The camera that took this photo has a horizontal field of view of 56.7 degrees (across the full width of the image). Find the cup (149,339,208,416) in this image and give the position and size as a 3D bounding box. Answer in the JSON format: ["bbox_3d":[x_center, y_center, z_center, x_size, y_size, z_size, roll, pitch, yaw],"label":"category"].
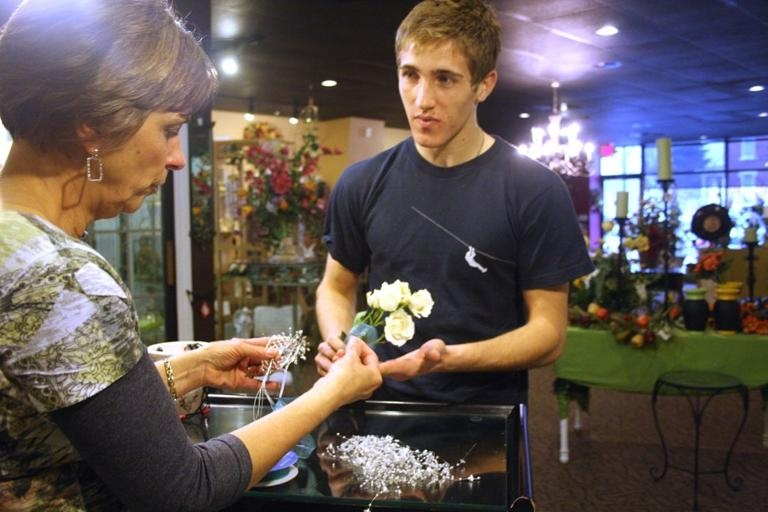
[{"bbox_3d":[-0.769,0.448,2.677,0.235,0.251,0.291,0,1,8],"label":"cup"}]

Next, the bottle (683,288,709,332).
[{"bbox_3d":[1.554,0.273,3.547,0.133,0.217,0.135,-2,5,0],"label":"bottle"}]

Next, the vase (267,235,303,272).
[{"bbox_3d":[-0.613,-0.016,4.458,0.205,0.195,0.205,1,3,3],"label":"vase"}]

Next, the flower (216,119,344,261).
[{"bbox_3d":[-0.600,-0.406,4.753,0.869,1.015,0.749,1,-2,-1],"label":"flower"}]

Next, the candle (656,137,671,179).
[{"bbox_3d":[1.373,-0.473,3.490,0.068,0.215,0.017,0,1,13],"label":"candle"}]

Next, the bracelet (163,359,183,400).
[{"bbox_3d":[-0.689,0.396,2.295,0.090,0.100,0.031,-3,-3,-11],"label":"bracelet"}]

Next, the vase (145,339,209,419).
[{"bbox_3d":[-0.761,0.450,2.659,0.243,0.236,0.289,0,0,6],"label":"vase"}]
